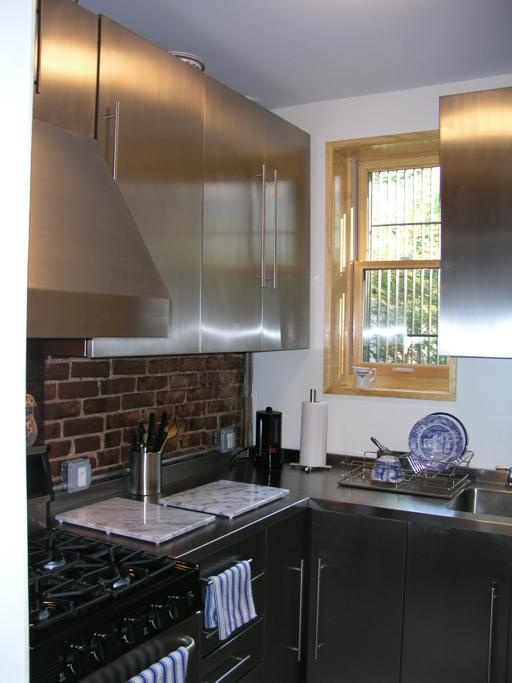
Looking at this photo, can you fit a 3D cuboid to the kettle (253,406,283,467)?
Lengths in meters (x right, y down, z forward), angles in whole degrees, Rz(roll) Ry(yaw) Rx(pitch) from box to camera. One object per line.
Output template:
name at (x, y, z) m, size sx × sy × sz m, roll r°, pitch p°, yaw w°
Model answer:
kettle at (0.040, 0.446, 2.770) m, size 0.109 × 0.279 × 0.200 m, roll -2°, pitch 2°, yaw -42°

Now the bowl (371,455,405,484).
bowl at (0.543, 0.534, 2.428) m, size 0.105 × 0.083 × 0.104 m, roll 0°, pitch -5°, yaw 0°

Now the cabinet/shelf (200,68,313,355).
cabinet/shelf at (-0.024, -0.460, 2.344) m, size 0.282 × 0.954 × 0.499 m, roll 7°, pitch 9°, yaw 35°

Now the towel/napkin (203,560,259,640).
towel/napkin at (-0.074, 0.748, 1.690) m, size 0.047 × 0.184 × 0.218 m, roll 0°, pitch 2°, yaw 29°

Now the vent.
vent at (-0.440, -0.283, 1.485) m, size 0.178 × 0.551 × 0.539 m, roll 0°, pitch 2°, yaw 26°

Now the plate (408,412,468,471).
plate at (0.752, 0.426, 2.428) m, size 0.249 × 0.241 × 0.135 m, roll 0°, pitch 2°, yaw 27°
